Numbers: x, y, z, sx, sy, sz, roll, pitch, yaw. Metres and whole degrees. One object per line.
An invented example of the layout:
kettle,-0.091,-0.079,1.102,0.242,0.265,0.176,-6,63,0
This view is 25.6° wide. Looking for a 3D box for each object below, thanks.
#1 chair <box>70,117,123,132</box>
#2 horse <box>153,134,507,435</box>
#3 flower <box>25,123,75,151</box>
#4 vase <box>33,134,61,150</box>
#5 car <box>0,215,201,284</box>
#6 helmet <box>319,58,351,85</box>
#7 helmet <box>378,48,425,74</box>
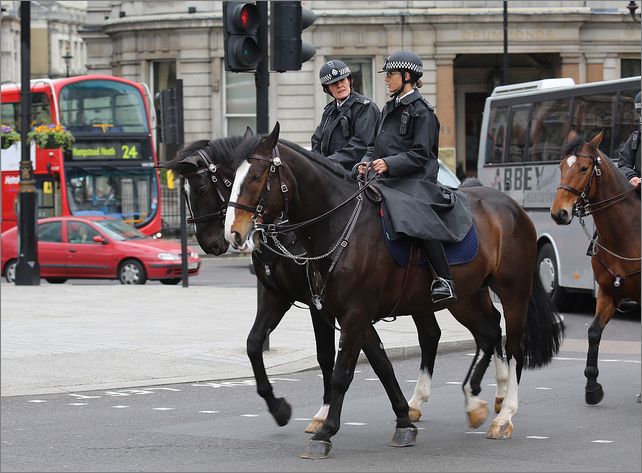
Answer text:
chair,-5.636,-2.806,35.732,1.507,0.386,0.267,-7,8,-44
horse,1.054,0.792,18.015,5.659,3.660,1.337,3,-10,-39
flower,-6.248,-2.352,33.238,0.772,0.369,0.703,0,-1,0
vase,-6.350,-2.281,33.262,0.845,0.379,0.359,-7,8,-42
car,-5.081,0.349,32.332,4.286,1.163,1.792,-1,2,9
helmet,0.232,-2.164,18.557,0.387,0.323,0.264,-2,6,0
helmet,1.088,-2.220,17.862,0.475,0.229,0.307,3,4,-1
